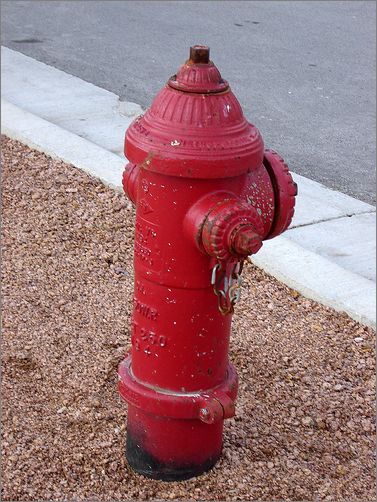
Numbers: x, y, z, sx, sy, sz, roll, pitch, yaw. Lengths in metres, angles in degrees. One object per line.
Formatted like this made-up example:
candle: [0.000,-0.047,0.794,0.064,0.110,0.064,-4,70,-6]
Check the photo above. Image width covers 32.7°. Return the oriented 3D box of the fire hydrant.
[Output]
fire hydrant: [0.034,0.110,2.037,0.540,1.424,0.526,5,36,7]
